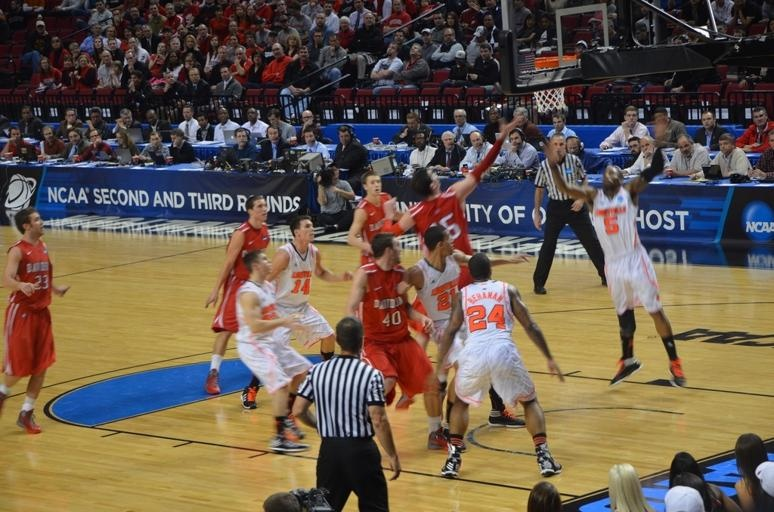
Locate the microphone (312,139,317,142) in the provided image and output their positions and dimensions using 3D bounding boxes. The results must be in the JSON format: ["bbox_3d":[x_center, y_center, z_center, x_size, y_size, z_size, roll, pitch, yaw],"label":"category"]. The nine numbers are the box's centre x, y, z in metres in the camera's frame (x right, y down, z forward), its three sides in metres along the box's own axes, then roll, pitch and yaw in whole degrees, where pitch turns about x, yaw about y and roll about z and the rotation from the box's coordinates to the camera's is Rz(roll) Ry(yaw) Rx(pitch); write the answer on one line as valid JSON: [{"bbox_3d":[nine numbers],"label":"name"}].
[{"bbox_3d":[-1.627,-2.601,18.299,0.076,0.082,0.070,10,11,35],"label":"microphone"}]

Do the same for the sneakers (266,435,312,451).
[{"bbox_3d":[-1.012,1.946,8.495,0.434,0.216,0.152,0,5,7],"label":"sneakers"}]

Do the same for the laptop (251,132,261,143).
[{"bbox_3d":[-3.136,-2.863,19.664,0.305,0.275,0.258,2,12,16],"label":"laptop"}]

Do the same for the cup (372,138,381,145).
[{"bbox_3d":[-0.238,-2.731,19.348,0.146,0.099,0.235,1,5,1],"label":"cup"}]

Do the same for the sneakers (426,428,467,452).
[{"bbox_3d":[0.628,1.873,8.362,0.181,0.227,0.492,-2,0,-44],"label":"sneakers"}]

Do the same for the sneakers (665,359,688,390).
[{"bbox_3d":[3.389,1.328,9.473,0.146,0.200,0.451,-7,28,-2],"label":"sneakers"}]

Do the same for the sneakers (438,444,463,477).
[{"bbox_3d":[0.619,1.955,7.887,0.207,0.339,0.263,-3,3,3],"label":"sneakers"}]

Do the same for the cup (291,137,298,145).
[{"bbox_3d":[-2.222,-2.750,19.560,0.191,0.197,0.145,-3,2,-20],"label":"cup"}]

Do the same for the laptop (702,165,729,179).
[{"bbox_3d":[5.905,-1.519,14.777,0.305,0.244,0.217,-2,1,24],"label":"laptop"}]

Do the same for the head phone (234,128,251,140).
[{"bbox_3d":[-3.374,-2.861,19.047,0.247,0.300,0.339,-5,-10,-4],"label":"head phone"}]

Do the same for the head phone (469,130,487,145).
[{"bbox_3d":[1.851,-2.403,16.593,0.255,0.332,0.334,-16,-6,11],"label":"head phone"}]

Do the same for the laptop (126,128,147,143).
[{"bbox_3d":[-6.499,-3.145,21.341,0.436,0.313,0.326,11,20,22],"label":"laptop"}]

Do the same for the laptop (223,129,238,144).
[{"bbox_3d":[-3.862,-2.947,20.291,0.299,0.462,0.301,-10,-4,13],"label":"laptop"}]

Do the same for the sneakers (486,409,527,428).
[{"bbox_3d":[1.307,1.770,8.985,0.438,0.209,0.161,-2,4,2],"label":"sneakers"}]

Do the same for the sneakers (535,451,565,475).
[{"bbox_3d":[1.546,1.943,7.711,0.128,0.274,0.373,-7,-1,29],"label":"sneakers"}]

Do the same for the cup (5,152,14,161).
[{"bbox_3d":[-10.072,-2.649,21.802,0.199,0.119,0.278,2,-8,-42],"label":"cup"}]

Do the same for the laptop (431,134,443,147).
[{"bbox_3d":[1.117,-2.556,18.140,0.278,0.286,0.291,-1,-4,8],"label":"laptop"}]

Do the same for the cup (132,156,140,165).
[{"bbox_3d":[-6.151,-2.356,20.072,0.241,0.254,0.135,-13,20,-38],"label":"cup"}]

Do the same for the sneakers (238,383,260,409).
[{"bbox_3d":[-1.613,1.666,9.675,0.185,0.268,0.180,-4,3,-21],"label":"sneakers"}]

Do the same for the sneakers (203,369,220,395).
[{"bbox_3d":[-2.137,1.540,10.019,0.171,0.324,0.120,-4,3,-14],"label":"sneakers"}]

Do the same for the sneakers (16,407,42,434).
[{"bbox_3d":[-4.087,1.856,9.326,0.239,0.279,0.359,-5,3,-25],"label":"sneakers"}]

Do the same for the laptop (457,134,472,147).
[{"bbox_3d":[1.698,-2.562,18.049,0.360,0.274,0.359,-2,5,1],"label":"laptop"}]

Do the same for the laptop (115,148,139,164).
[{"bbox_3d":[-6.423,-2.462,20.212,0.466,0.458,0.471,-9,6,-28],"label":"laptop"}]

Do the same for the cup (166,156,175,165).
[{"bbox_3d":[-5.284,-2.342,19.965,0.182,0.150,0.185,-1,5,0],"label":"cup"}]
